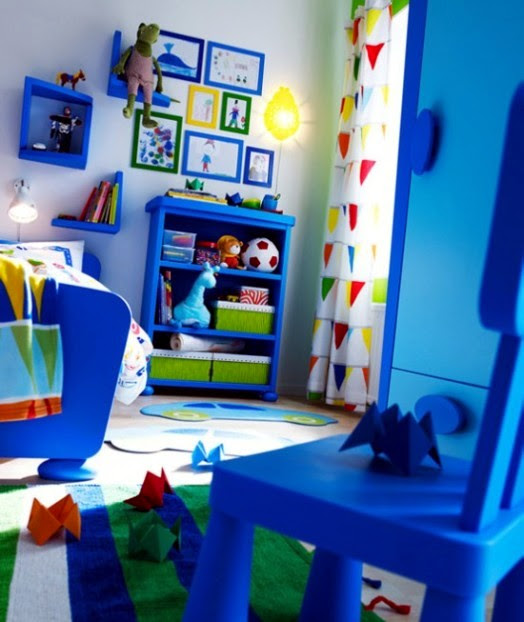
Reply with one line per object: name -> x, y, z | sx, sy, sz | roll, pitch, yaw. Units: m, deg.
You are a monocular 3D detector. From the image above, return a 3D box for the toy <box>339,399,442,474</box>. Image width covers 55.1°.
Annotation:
toy -> 0.141, 0.093, 0.437 | 0.078, 0.059, 0.073 | 4, -1, 3

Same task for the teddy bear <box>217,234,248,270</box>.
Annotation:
teddy bear -> -0.272, -0.321, 3.106 | 0.192, 0.297, 0.212 | -6, -8, 39

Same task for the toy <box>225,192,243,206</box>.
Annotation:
toy -> -0.252, -0.671, 3.032 | 0.105, 0.110, 0.110 | -5, 15, -40

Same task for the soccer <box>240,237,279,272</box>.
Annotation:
soccer -> -0.039, -0.301, 3.035 | 0.214, 0.260, 0.220 | -6, -2, 1

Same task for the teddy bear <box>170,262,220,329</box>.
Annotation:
teddy bear -> -0.516, -0.096, 2.881 | 0.234, 0.407, 0.269 | 11, -7, 14

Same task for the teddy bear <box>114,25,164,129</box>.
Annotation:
teddy bear -> -0.927, -1.332, 2.870 | 0.319, 0.548, 0.300 | 4, -2, -17

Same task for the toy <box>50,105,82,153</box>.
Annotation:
toy -> -1.447, -1.004, 2.818 | 0.190, 0.295, 0.087 | -6, 52, -37

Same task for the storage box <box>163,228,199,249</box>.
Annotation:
storage box -> -0.635, -0.411, 2.866 | 0.168, 0.076, 0.112 | 1, 3, -15

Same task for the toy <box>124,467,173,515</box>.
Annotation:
toy -> -0.362, 0.440, 1.206 | 0.091, 0.097, 0.087 | 22, -41, -12

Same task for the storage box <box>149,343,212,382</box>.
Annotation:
storage box -> -0.609, 0.271, 2.807 | 0.291, 0.153, 0.210 | 3, 3, -11

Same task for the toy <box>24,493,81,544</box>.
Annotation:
toy -> -0.542, 0.414, 1.003 | 0.109, 0.086, 0.117 | -1, -19, 22

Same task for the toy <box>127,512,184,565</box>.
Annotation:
toy -> -0.272, 0.415, 0.960 | 0.083, 0.076, 0.090 | 0, -1, -30

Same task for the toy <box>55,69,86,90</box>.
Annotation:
toy -> -1.384, -1.307, 2.805 | 0.164, 0.129, 0.134 | 4, -2, -11

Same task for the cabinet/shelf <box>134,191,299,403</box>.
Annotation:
cabinet/shelf -> -0.393, -0.064, 3.063 | 0.944, 1.243, 0.373 | 1, 18, -22

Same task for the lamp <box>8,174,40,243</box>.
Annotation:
lamp -> -1.690, -0.562, 2.741 | 0.177, 0.378, 0.197 | 5, -2, -32

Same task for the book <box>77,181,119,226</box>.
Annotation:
book -> -1.199, -0.600, 2.854 | 0.085, 0.297, 0.216 | 24, 13, 26
